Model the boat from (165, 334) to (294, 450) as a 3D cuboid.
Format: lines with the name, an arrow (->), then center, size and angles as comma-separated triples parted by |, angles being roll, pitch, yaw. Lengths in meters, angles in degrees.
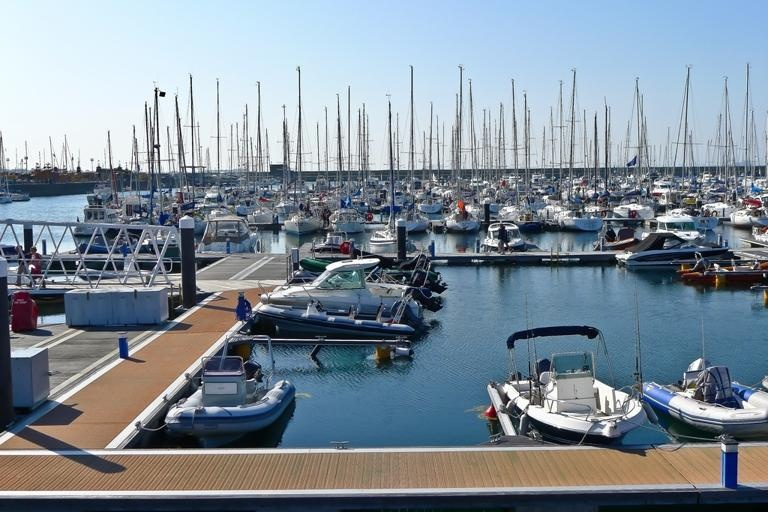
boat -> -3.952, 3.535, 21.385 | 2.861, 2.080, 3.472 | -2, 6, 3

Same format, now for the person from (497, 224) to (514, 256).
person -> 6.493, -0.914, 43.381 | 0.680, 1.337, 2.276 | -1, 6, 8

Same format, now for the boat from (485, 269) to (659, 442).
boat -> 4.594, 3.202, 20.551 | 3.278, 2.576, 3.881 | -2, 6, -4

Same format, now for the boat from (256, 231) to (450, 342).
boat -> -1.061, 1.500, 28.073 | 6.204, 2.458, 2.558 | 2, -2, 2
